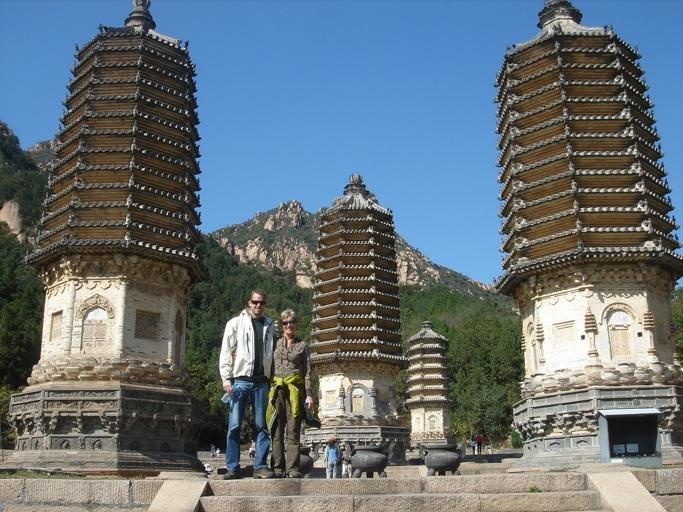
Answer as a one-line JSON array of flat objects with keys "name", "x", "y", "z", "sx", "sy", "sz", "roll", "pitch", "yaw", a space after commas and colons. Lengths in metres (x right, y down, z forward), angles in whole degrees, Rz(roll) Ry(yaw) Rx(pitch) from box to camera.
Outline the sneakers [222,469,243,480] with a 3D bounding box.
[{"name": "sneakers", "x": -3.037, "y": 6.106, "z": 27.695, "sx": 0.189, "sy": 0.210, "sz": 0.525, "roll": -12, "pitch": -37, "yaw": 31}]

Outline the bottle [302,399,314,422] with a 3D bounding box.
[{"name": "bottle", "x": -0.951, "y": 4.346, "z": 28.038, "sx": 0.313, "sy": 0.646, "sz": 0.233, "roll": -8, "pitch": 7, "yaw": -25}]
